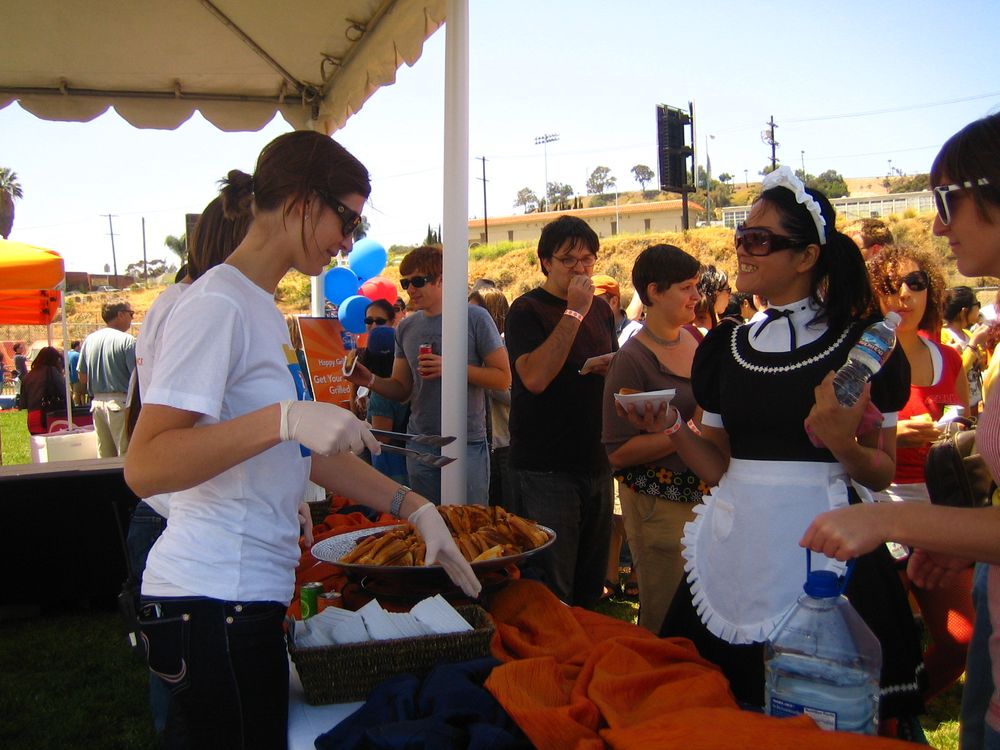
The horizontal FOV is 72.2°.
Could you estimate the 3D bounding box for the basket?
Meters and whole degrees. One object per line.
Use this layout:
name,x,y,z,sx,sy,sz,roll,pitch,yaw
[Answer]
basket,-0.319,0.713,1.949,0.384,0.128,0.256,-3,-12,-13

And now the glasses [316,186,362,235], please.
glasses,-0.480,-0.476,2.023,0.108,0.034,0.106,43,7,15

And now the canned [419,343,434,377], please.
canned,-0.434,-0.109,4.033,0.097,0.165,0.102,-10,37,-13

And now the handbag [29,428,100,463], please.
handbag,-4.840,0.724,7.667,0.225,0.382,0.373,-5,2,45

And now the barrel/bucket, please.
barrel/bucket,0.897,0.659,1.809,0.401,0.416,0.218,-4,6,-27

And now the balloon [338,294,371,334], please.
balloon,-1.452,-0.633,6.766,0.318,0.418,0.347,0,6,12

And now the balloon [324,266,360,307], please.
balloon,-1.711,-0.985,7.345,0.365,0.411,0.216,7,10,1

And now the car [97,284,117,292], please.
car,-44.152,-10.053,76.864,1.916,0.660,1.470,2,5,34
